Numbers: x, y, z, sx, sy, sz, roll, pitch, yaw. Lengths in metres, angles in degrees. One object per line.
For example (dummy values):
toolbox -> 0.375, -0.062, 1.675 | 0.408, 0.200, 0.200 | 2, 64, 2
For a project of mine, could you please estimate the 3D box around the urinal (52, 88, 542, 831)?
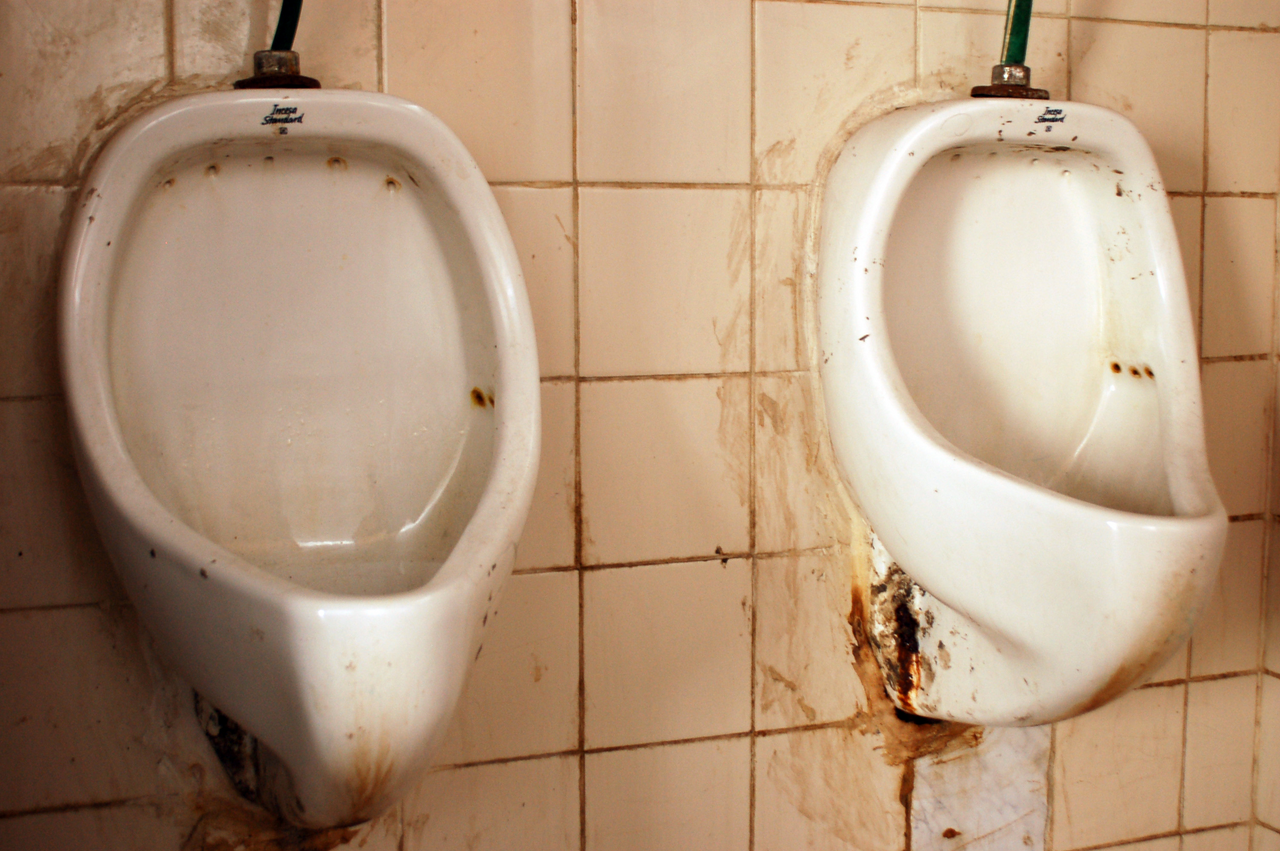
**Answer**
urinal -> -0.487, 0.109, 2.211 | 0.665, 0.971, 0.927 | -6, -41, -19
